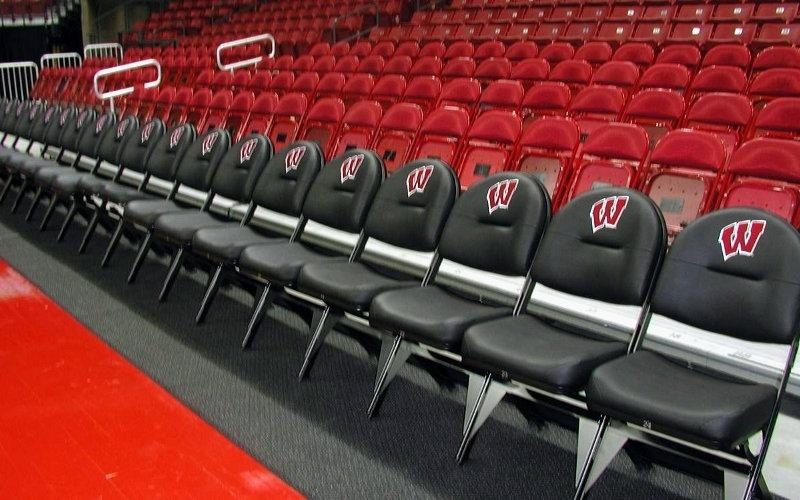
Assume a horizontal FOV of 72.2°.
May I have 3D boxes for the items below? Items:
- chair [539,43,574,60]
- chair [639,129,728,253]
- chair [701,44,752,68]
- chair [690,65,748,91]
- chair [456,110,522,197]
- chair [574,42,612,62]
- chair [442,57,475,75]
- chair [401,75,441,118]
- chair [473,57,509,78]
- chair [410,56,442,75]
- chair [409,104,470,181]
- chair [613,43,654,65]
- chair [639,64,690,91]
[{"bbox_3d":[1.734,-2.199,6.057,0.351,0.229,0.287,10,14,12],"label":"chair"},{"bbox_3d":[1.799,-0.382,3.463,0.439,0.643,0.660,17,-28,32],"label":"chair"},{"bbox_3d":[3.289,-1.958,5.491,0.427,0.264,0.328,13,15,25],"label":"chair"},{"bbox_3d":[2.866,-1.540,4.916,0.428,0.272,0.261,13,15,24],"label":"chair"},{"bbox_3d":[0.761,-0.819,4.505,0.442,0.787,0.236,20,15,29],"label":"chair"},{"bbox_3d":[2.121,-2.180,5.997,0.384,0.265,0.310,11,14,16],"label":"chair"},{"bbox_3d":[0.647,-2.031,6.034,0.376,0.232,0.254,11,14,16],"label":"chair"},{"bbox_3d":[0.286,-1.564,5.579,0.339,0.412,0.439,7,-9,10],"label":"chair"},{"bbox_3d":[0.994,-1.945,5.836,0.383,0.240,0.218,11,14,16],"label":"chair"},{"bbox_3d":[0.303,-2.078,6.161,0.265,0.249,0.378,-2,16,-34],"label":"chair"},{"bbox_3d":[0.340,-0.941,4.624,0.397,0.705,0.205,21,17,22],"label":"chair"},{"bbox_3d":[2.473,-2.076,5.758,0.325,0.155,0.427,8,21,23],"label":"chair"},{"bbox_3d":[2.456,-1.612,5.072,0.395,0.262,0.200,15,16,29],"label":"chair"}]
